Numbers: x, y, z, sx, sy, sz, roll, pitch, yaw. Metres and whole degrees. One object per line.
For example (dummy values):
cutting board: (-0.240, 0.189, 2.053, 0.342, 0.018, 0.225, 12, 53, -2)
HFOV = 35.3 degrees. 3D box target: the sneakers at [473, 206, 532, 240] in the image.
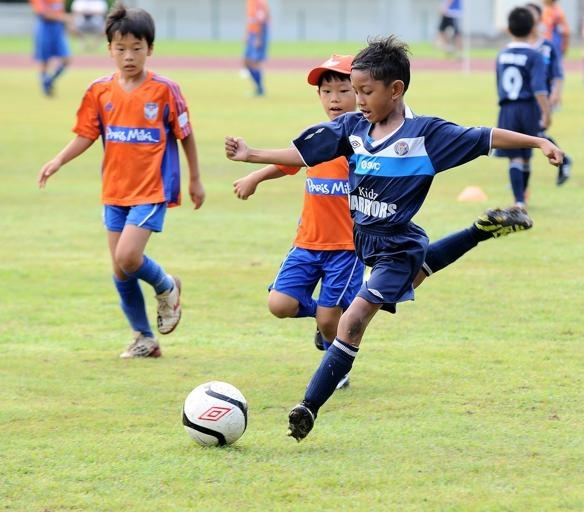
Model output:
sneakers: (1.122, -0.166, 4.848, 0.224, 0.106, 0.318, 11, -13, -24)

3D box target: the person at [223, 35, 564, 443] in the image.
person: (0.378, -0.196, 4.211, 1.222, 1.576, 0.562, -1, 14, -15)

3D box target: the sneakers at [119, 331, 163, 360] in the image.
sneakers: (-0.859, 0.524, 5.254, 0.251, 0.111, 0.114, 2, -7, -5)

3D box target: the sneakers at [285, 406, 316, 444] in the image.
sneakers: (0.013, 0.729, 4.001, 0.088, 0.186, 0.093, 37, 61, 7)

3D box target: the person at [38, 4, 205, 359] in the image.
person: (-0.910, -0.400, 5.169, 0.805, 1.957, 0.513, 2, 14, -2)

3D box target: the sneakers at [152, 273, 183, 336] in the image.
sneakers: (-0.684, 0.286, 5.292, 0.147, 0.320, 0.172, 5, 7, 31)
